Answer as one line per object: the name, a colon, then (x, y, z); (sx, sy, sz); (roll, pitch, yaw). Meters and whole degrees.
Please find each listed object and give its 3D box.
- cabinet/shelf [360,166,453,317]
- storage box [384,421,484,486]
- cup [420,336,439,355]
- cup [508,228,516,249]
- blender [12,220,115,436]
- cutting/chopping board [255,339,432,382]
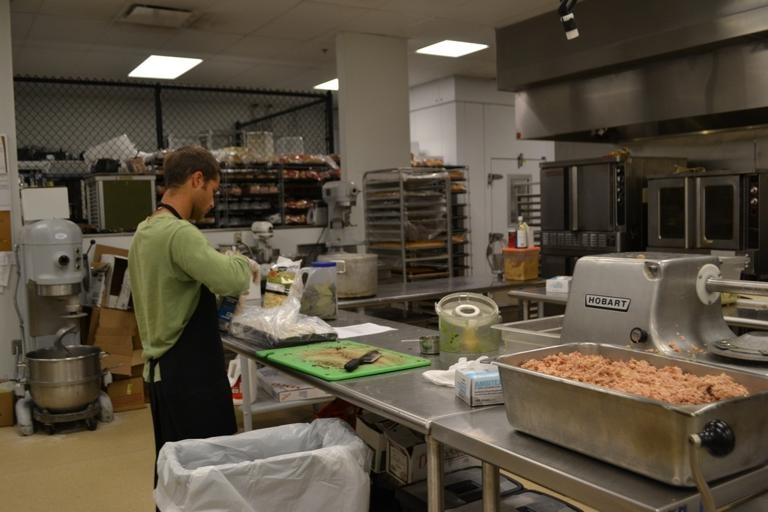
cabinet/shelf: (-0.025, -0.464, 7.398); (1.348, 2.308, 1.238); (-5, 7, -37)
storage box: (0.207, 0.896, 2.665); (0.442, 0.212, 0.441); (-8, -8, 12)
cup: (0.217, 0.422, 2.666); (0.085, 0.057, 0.084); (0, -1, 0)
cup: (1.287, -0.179, 5.538); (0.080, 0.149, 0.279); (0, 6, 13)
blender: (-2.910, 0.581, 4.923); (0.737, 1.843, 0.882); (-6, 7, -34)
cutting/chopping board: (-0.185, 0.455, 2.568); (0.548, 0.053, 0.676); (-6, 7, -40)
